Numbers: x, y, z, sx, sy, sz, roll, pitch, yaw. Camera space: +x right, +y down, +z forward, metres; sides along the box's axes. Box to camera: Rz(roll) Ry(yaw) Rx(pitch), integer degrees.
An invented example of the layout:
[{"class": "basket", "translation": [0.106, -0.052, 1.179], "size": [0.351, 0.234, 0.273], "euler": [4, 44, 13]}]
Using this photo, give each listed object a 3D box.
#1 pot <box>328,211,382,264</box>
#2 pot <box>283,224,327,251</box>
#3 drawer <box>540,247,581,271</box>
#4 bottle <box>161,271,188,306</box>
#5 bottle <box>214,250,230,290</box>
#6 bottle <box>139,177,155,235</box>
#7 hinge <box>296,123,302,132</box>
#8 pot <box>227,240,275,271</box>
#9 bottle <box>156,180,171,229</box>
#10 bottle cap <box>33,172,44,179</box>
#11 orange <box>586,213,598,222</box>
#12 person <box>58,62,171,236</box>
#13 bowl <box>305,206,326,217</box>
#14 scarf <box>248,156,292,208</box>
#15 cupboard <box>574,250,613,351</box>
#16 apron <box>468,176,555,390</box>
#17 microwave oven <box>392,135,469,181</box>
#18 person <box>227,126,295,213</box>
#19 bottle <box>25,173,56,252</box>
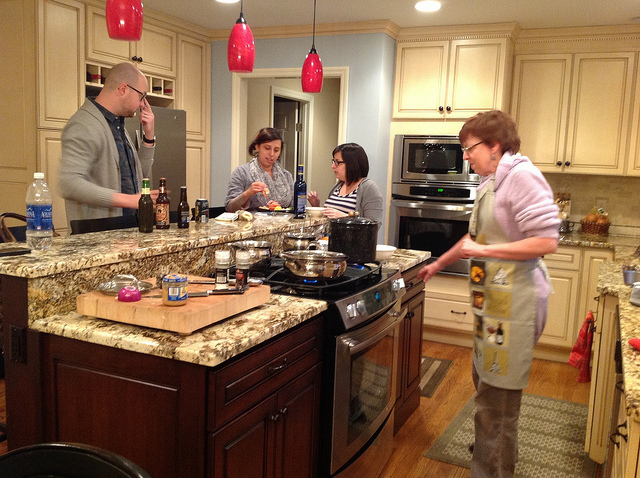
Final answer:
[{"class": "pot", "translation": [0.182, -0.013, 2.498], "size": [0.263, 0.258, 0.267], "euler": [0, 3, 0]}, {"class": "pot", "translation": [-0.089, -0.008, 2.476], "size": [0.169, 0.115, 0.128], "euler": [-1, 3, -21]}, {"class": "drawer", "translation": [1.912, 0.152, 3.605], "size": [0.233, 0.167, 0.137], "euler": [4, 2, 22]}, {"class": "bottle", "translation": [-0.479, 0.164, 1.550], "size": [0.094, 0.102, 0.094], "euler": [0, 6, -11]}, {"class": "bottle", "translation": [-0.364, 0.114, 1.706], "size": [0.059, 0.127, 0.115], "euler": [-3, 11, -13]}, {"class": "bottle", "translation": [-0.809, -0.149, 2.135], "size": [0.069, 0.261, 0.202], "euler": [-4, 11, -22]}, {"class": "hinge", "translation": [-0.299, -1.606, 6.621], "size": [0.103, 0.096, 0.024], "euler": [0, 3, -26]}, {"class": "pot", "translation": [-0.318, 0.077, 2.220], "size": [0.162, 0.155, 0.288], "euler": [3, 11, 18]}, {"class": "bottle", "translation": [-0.794, -0.177, 2.318], "size": [0.071, 0.260, 0.368], "euler": [-4, 11, -19]}, {"class": "bottle cap", "translation": [-1.068, -0.242, 1.755], "size": [0.037, 0.024, 0.038], "euler": [8, 12, 29]}, {"class": "orange", "translation": [2.632, -0.208, 4.441], "size": [0.077, 0.077, 0.090], "euler": [11, -5, -33]}, {"class": "person", "translation": [-1.193, -0.528, 2.601], "size": [0.506, 0.939, 1.285], "euler": [-4, 11, -21]}, {"class": "bowl", "translation": [-0.025, -0.192, 3.197], "size": [0.097, 0.062, 0.138], "euler": [7, 13, 35]}, {"class": "scarf", "translation": [-0.415, -0.474, 3.767], "size": [0.299, 0.420, 0.153], "euler": [-13, -3, -39]}, {"class": "cupboard", "translation": [2.337, 0.494, 3.963], "size": [0.262, 0.778, 0.199], "euler": [-9, 13, -39]}, {"class": "apron", "translation": [0.842, 0.200, 2.113], "size": [0.330, 0.957, 0.180], "euler": [4, 11, 24]}, {"class": "microwave oven", "translation": [1.122, -0.695, 4.535], "size": [0.840, 0.514, 0.474], "euler": [3, -13, 12]}, {"class": "person", "translation": [-0.494, -0.543, 3.577], "size": [0.486, 0.636, 0.742], "euler": [0, 10, 3]}, {"class": "bottle", "translation": [-1.081, -0.095, 1.768], "size": [0.092, 0.262, 0.176], "euler": [-7, 12, -32]}]
